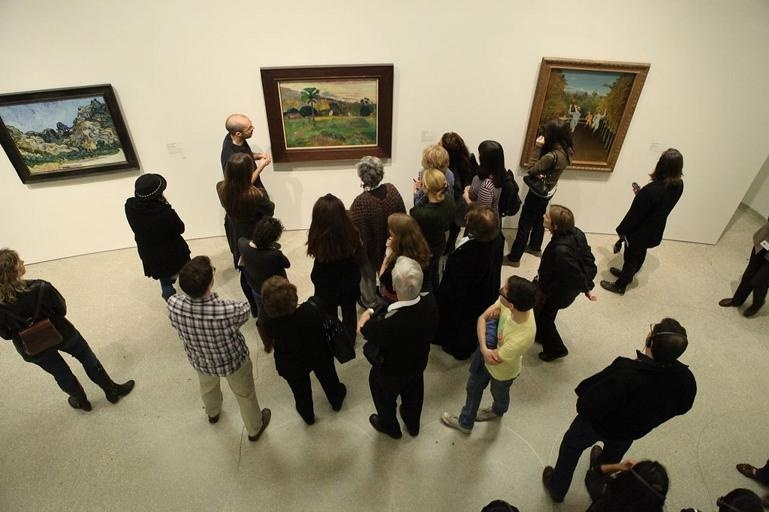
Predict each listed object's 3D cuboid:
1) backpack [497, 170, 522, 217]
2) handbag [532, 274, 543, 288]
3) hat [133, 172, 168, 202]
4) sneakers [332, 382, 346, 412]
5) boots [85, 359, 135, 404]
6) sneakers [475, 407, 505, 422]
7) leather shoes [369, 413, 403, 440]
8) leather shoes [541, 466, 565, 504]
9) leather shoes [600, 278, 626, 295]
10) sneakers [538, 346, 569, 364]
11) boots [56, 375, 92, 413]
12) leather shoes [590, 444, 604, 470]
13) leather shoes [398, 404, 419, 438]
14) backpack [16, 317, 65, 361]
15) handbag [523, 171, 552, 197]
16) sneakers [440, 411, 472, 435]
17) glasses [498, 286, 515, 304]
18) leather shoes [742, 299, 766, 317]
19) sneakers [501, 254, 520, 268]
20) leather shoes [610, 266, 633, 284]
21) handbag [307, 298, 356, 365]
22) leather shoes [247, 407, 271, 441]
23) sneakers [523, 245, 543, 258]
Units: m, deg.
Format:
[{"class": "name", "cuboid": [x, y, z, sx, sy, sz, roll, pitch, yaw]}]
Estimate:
[{"class": "backpack", "cuboid": [1.684, -0.859, 6.748, 0.332, 0.644, 0.468, -9, 54, 3]}, {"class": "handbag", "cuboid": [1.817, 0.287, 5.937, 0.119, 0.144, 0.163, -10, 62, 20]}, {"class": "hat", "cuboid": [-2.697, -0.783, 5.818, 0.324, 0.109, 0.292, -32, 76, -16]}, {"class": "sneakers", "cuboid": [-0.498, 1.606, 5.662, 0.134, 0.130, 0.337, 1, 54, 17]}, {"class": "boots", "cuboid": [-3.144, 1.430, 5.786, 0.158, 0.500, 0.355, 1, 27, 35]}, {"class": "sneakers", "cuboid": [1.165, 1.795, 5.614, 0.363, 0.149, 0.146, -3, 61, 0]}, {"class": "leather shoes", "cuboid": [0.017, 1.880, 5.470, 0.116, 0.206, 0.324, -31, 53, -29]}, {"class": "leather shoes", "cuboid": [1.736, 2.389, 5.199, 0.154, 0.279, 0.400, -6, 45, -2]}, {"class": "leather shoes", "cuboid": [3.174, 0.411, 6.971, 0.356, 0.158, 0.156, 22, 75, 22]}, {"class": "sneakers", "cuboid": [2.081, 1.190, 6.132, 0.325, 0.152, 0.179, -18, 46, 22]}, {"class": "boots", "cuboid": [-3.528, 1.580, 5.653, 0.231, 0.410, 0.130, 20, 52, -18]}, {"class": "leather shoes", "cuboid": [2.231, 2.136, 5.286, 0.109, 0.206, 0.311, 4, 60, 18]}, {"class": "leather shoes", "cuboid": [0.277, 1.804, 5.456, 0.120, 0.254, 0.378, -12, 55, -3]}, {"class": "backpack", "cuboid": [-3.579, 0.842, 5.188, 0.349, 0.339, 0.157, -30, 32, -24]}, {"class": "handbag", "cuboid": [2.090, -0.982, 6.730, 0.166, 0.336, 0.338, -43, 57, 0]}, {"class": "sneakers", "cuboid": [0.810, 1.873, 5.617, 0.329, 0.134, 0.159, 29, 44, 19]}, {"class": "glasses", "cuboid": [1.194, 0.391, 4.878, 0.040, 0.143, 0.134, -3, 14, -25]}, {"class": "leather shoes", "cuboid": [4.908, 0.695, 6.602, 0.194, 0.133, 0.068, -45, 41, 7]}, {"class": "sneakers", "cuboid": [1.849, 0.091, 7.233, 0.296, 0.119, 0.115, 25, 93, 35]}, {"class": "leather shoes", "cuboid": [3.299, 0.264, 6.915, 0.073, 0.162, 0.227, -18, 48, -7]}, {"class": "handbag", "cuboid": [-0.566, 0.777, 5.207, 0.259, 0.643, 0.510, -30, 48, -4]}, {"class": "leather shoes", "cuboid": [-1.392, 1.877, 5.589, 0.128, 0.163, 0.421, 7, 64, 13]}, {"class": "sneakers", "cuboid": [2.238, -0.069, 7.437, 0.324, 0.127, 0.117, 35, 79, 29]}]
